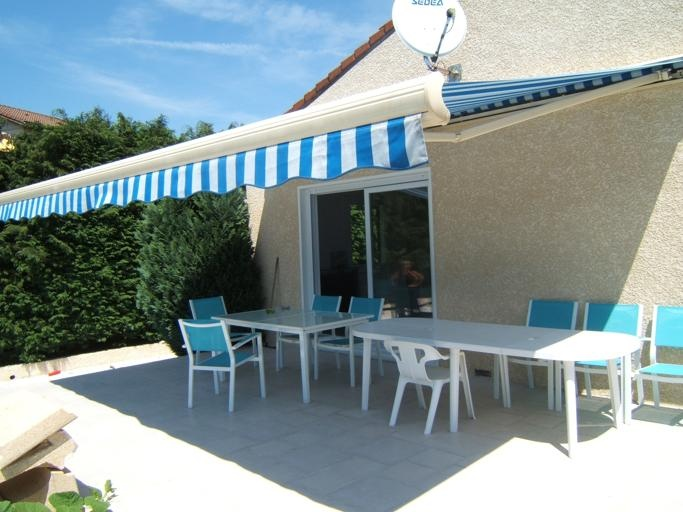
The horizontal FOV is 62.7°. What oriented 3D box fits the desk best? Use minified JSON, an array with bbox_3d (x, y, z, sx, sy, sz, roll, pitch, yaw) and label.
[{"bbox_3d":[1.904,1.545,6.908,3.083,1.221,1.411,1,7,28],"label":"desk"}]
